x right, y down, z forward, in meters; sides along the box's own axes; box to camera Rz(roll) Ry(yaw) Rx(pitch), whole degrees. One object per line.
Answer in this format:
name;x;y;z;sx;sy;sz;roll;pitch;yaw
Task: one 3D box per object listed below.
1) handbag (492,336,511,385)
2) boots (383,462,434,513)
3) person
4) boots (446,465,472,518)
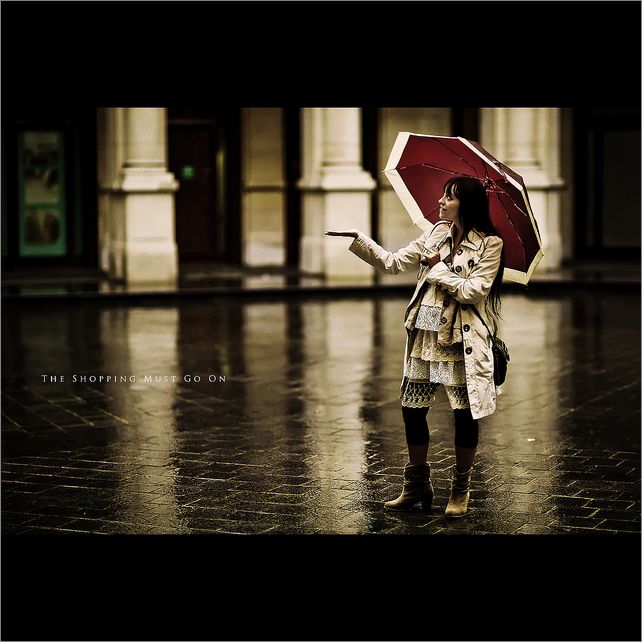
handbag;0.936;0.211;5.546;0.083;0.275;0.519;-1;1;10
boots;0.500;0.882;5.591;0.335;0.346;0.128;1;2;4
person;0.599;0.145;5.474;0.684;1.724;0.480;0;1;21
boots;0.706;0.865;5.466;0.104;0.235;0.232;9;24;21
